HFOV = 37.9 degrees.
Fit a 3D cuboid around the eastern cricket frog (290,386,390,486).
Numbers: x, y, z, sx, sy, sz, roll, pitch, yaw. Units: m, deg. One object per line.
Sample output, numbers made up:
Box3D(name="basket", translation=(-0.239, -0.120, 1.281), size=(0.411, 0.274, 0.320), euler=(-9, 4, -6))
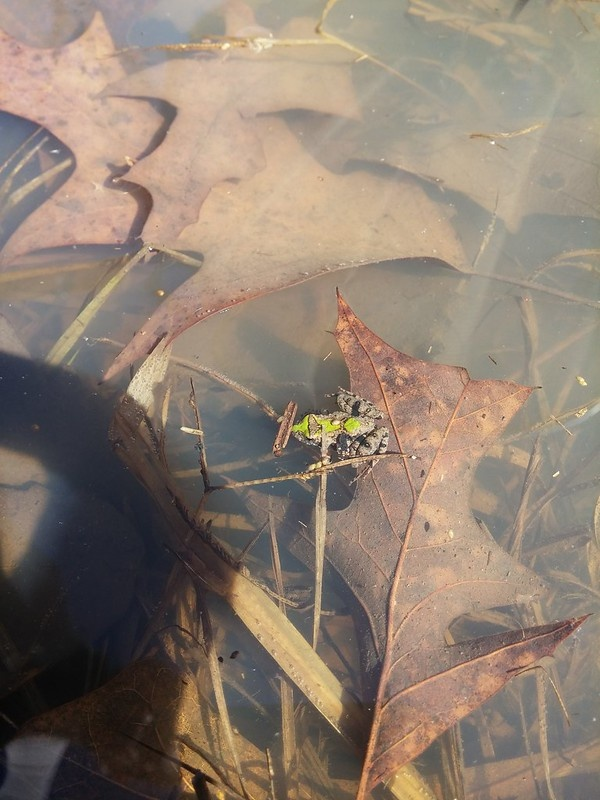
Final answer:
Box3D(name="eastern cricket frog", translation=(0.224, 0.145, 4.374), size=(0.477, 0.158, 0.390), euler=(5, 50, 14))
